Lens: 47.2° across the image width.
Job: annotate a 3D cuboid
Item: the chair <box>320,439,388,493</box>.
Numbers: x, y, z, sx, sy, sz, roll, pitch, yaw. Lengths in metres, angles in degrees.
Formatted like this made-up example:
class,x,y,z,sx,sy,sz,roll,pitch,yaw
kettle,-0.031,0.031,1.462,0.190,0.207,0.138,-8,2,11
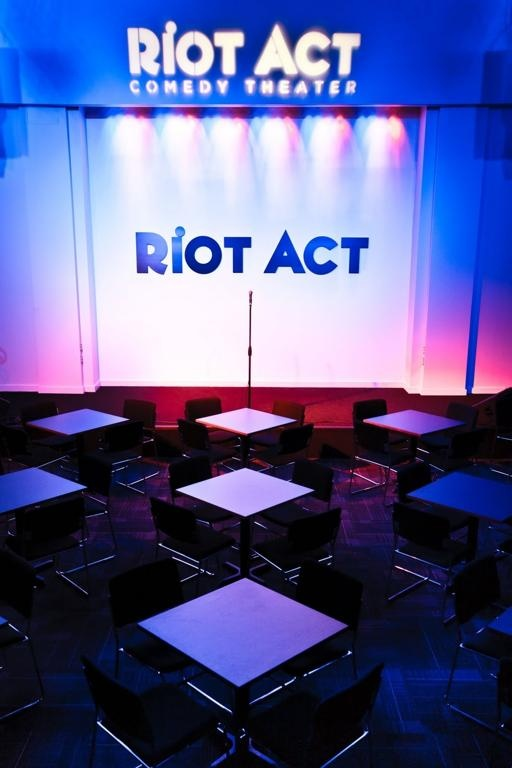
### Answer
class,x,y,z,sx,sy,sz,roll,pitch,yaw
chair,1.089,0.971,6.605,0.487,0.892,0.442,-3,10,-28

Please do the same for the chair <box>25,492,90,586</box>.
class,x,y,z,sx,sy,sz,roll,pitch,yaw
chair,-1.327,1.041,3.889,0.365,0.659,0.377,-16,48,-31

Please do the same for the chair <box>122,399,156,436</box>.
class,x,y,z,sx,sy,sz,roll,pitch,yaw
chair,-1.257,0.337,6.531,0.319,0.500,0.395,3,7,12

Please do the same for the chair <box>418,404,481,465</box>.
class,x,y,z,sx,sy,sz,roll,pitch,yaw
chair,2.033,0.545,6.166,0.491,0.659,0.449,0,10,-22

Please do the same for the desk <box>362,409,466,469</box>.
class,x,y,z,sx,sy,sz,roll,pitch,yaw
desk,1.576,0.564,5.888,0.929,0.461,0.717,-11,15,-36

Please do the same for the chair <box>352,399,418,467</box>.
class,x,y,z,sx,sy,sz,roll,pitch,yaw
chair,1.327,0.522,6.029,0.471,0.853,0.456,-16,24,-34
